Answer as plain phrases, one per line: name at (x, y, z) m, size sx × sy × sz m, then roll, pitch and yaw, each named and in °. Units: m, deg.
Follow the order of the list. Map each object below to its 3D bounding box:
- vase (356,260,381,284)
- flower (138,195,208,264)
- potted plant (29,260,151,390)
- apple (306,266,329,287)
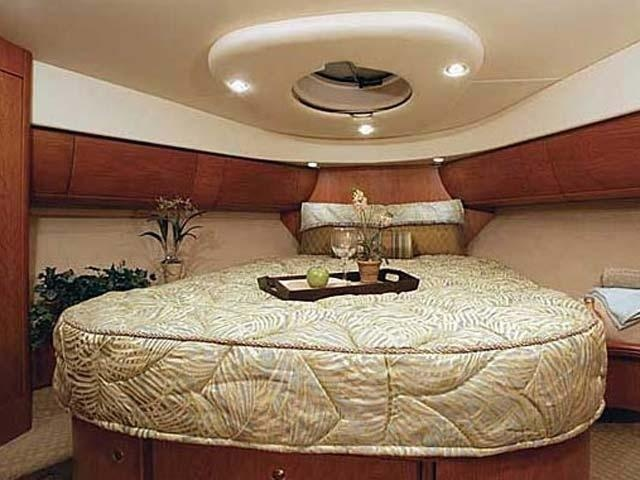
vase at (0.265, 0.175, 2.561) m, size 0.126 × 0.099 × 0.124 m, roll 0°, pitch -9°, yaw 4°
flower at (-1.127, -0.055, 3.631) m, size 0.521 × 0.543 × 0.512 m, roll 1°, pitch -1°, yaw -12°
potted plant at (-1.654, 0.468, 3.110) m, size 0.759 × 0.278 × 0.757 m, roll 7°, pitch 11°, yaw -28°
apple at (-0.017, 0.185, 2.451) m, size 0.100 × 0.092 × 0.100 m, roll 2°, pitch 7°, yaw 21°
